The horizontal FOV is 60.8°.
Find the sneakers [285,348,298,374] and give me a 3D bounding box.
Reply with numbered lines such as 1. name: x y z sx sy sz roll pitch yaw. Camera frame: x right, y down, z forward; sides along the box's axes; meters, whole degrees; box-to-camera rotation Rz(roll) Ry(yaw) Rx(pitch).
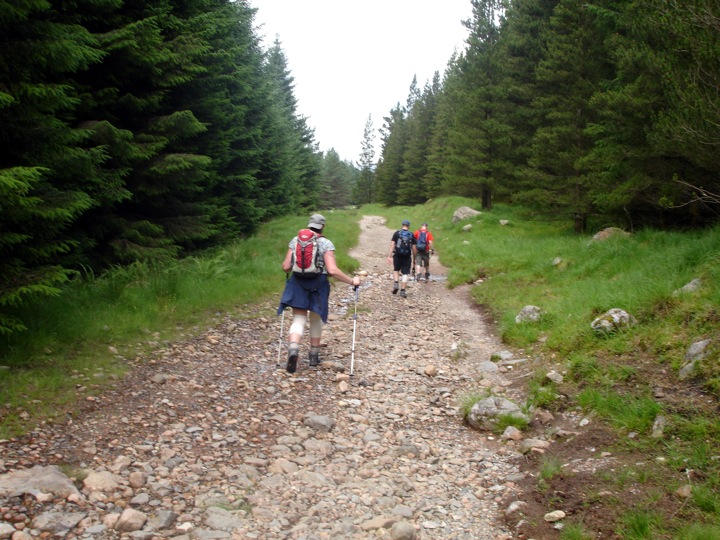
1. sneakers: -1.542 2.041 13.942 0.223 0.611 0.266 6 9 -10

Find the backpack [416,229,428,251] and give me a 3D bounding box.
1. backpack: 2.358 -1.133 23.265 0.406 0.778 0.479 3 5 5

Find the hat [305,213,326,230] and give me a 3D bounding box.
1. hat: -1.014 -1.105 14.345 0.440 0.307 0.580 7 2 5
